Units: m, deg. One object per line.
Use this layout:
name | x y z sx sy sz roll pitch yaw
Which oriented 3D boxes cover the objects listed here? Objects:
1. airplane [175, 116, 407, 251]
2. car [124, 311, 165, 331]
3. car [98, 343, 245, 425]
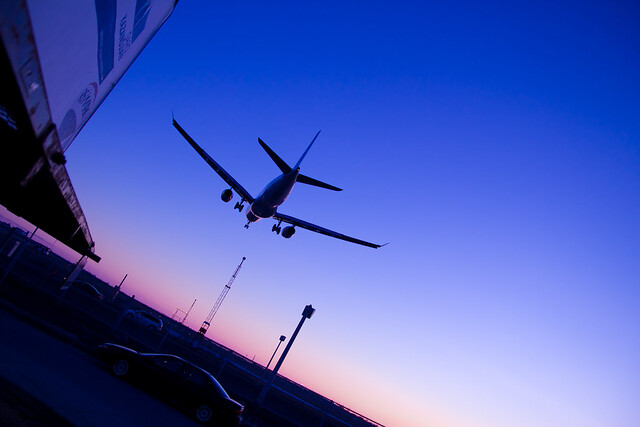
airplane | -3.587 1.378 29.993 11.857 3.344 9.142 36 -33 -8
car | -14.114 8.675 42.532 2.264 1.032 3.530 22 -19 15
car | -5.734 6.659 21.252 5.987 1.832 2.618 32 -10 5
